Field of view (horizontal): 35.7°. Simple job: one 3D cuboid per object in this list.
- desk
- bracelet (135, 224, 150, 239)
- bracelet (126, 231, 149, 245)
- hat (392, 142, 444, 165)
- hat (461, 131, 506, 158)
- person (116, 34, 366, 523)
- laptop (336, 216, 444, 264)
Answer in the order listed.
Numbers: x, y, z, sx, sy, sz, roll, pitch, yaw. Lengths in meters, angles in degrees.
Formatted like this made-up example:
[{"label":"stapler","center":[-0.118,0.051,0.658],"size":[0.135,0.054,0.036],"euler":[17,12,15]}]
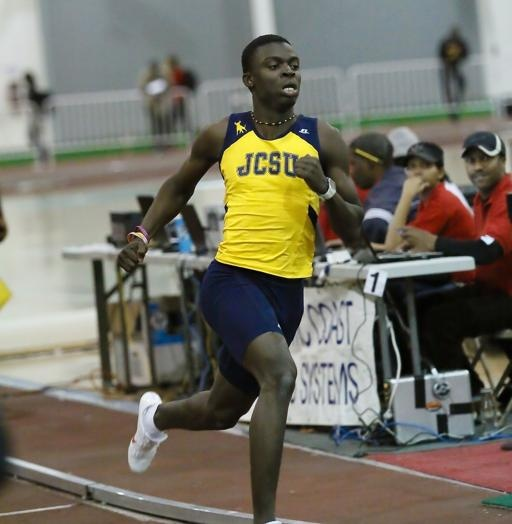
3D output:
[{"label":"desk","center":[0.180,0.415,4.527],"size":[1.793,0.576,0.537],"euler":[-5,-8,-9]},{"label":"bracelet","center":[-0.443,-0.118,3.144],"size":[0.051,0.036,0.052],"euler":[37,13,18]},{"label":"bracelet","center":[-0.456,-0.097,3.081],"size":[0.055,0.029,0.062],"euler":[21,-7,25]},{"label":"hat","center":[1.044,-0.684,4.994],"size":[0.235,0.103,0.174],"euler":[3,-5,-40]},{"label":"hat","center":[1.306,-0.682,4.584],"size":[0.240,0.148,0.241],"euler":[-3,-1,15]},{"label":"person","center":[-0.040,0.081,2.960],"size":[0.779,1.497,0.562],"euler":[-3,-1,32]},{"label":"laptop","center":[0.674,-0.077,4.299],"size":[0.218,0.249,0.299],"euler":[-25,8,-23]}]
